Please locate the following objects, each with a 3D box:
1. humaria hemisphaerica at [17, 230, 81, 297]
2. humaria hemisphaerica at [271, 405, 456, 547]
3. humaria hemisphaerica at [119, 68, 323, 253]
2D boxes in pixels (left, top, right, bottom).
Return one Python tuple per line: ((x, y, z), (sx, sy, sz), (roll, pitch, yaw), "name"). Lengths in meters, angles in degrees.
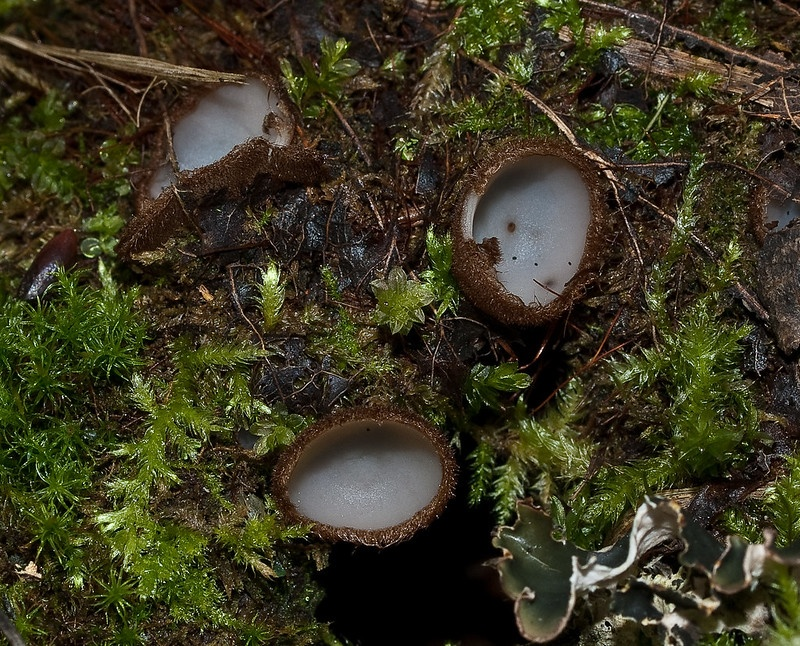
((-1.673, -0.286, 3.896), (0.122, 0.175, 0.373), (41, 74, -33), "humaria hemisphaerica")
((-0.158, 0.691, 3.636), (0.818, 0.286, 0.590), (5, 73, 0), "humaria hemisphaerica")
((-0.825, -0.804, 3.781), (0.883, 0.340, 0.776), (-3, 73, -5), "humaria hemisphaerica")
